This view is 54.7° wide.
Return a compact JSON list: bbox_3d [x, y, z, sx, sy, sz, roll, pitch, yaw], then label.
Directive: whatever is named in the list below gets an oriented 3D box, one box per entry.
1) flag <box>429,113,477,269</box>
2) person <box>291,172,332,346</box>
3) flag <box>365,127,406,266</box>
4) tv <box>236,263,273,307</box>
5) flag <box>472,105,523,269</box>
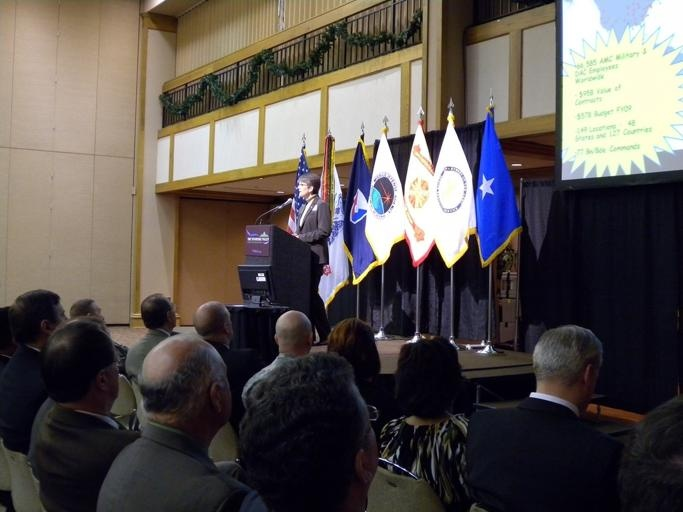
[{"bbox_3d":[1.038,-0.624,6.193,0.240,1.454,0.455,0,-1,-33],"label":"flag"},{"bbox_3d":[-0.255,0.015,5.933,0.328,1.556,0.656,-1,-1,-4],"label":"person"},{"bbox_3d":[0.444,-0.673,6.813,0.402,1.743,0.092,-3,-25,11],"label":"flag"},{"bbox_3d":[-0.699,0.211,5.409,0.302,0.338,0.187,1,23,19],"label":"tv"},{"bbox_3d":[1.412,-0.658,5.995,0.397,1.496,0.434,-1,-1,7],"label":"flag"}]
